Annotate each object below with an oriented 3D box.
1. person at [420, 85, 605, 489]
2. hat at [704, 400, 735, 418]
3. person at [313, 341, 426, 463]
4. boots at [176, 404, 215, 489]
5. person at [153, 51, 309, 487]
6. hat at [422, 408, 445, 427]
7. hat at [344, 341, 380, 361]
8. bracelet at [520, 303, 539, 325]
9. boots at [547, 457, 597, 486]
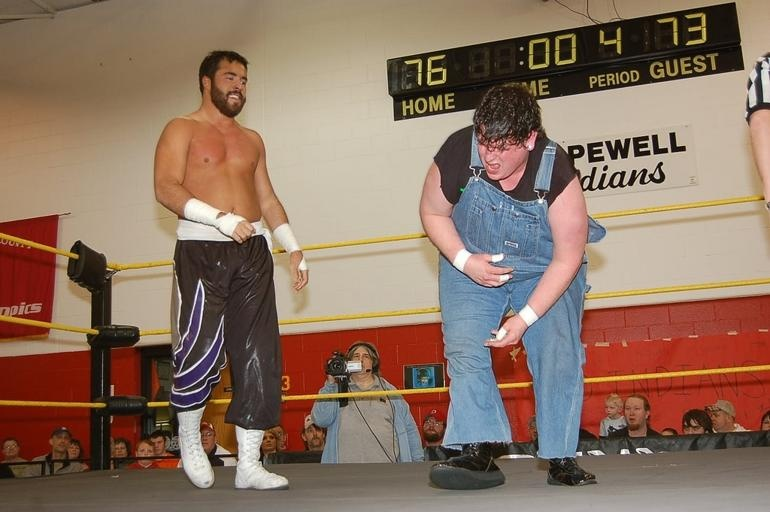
[{"bbox_3d":[0.645,0.153,3.961,0.945,2.130,0.572,-5,-6,14],"label":"person"},{"bbox_3d":[3.019,1.385,6.663,0.204,0.069,0.142,1,-10,34],"label":"hat"},{"bbox_3d":[-0.172,1.228,6.212,0.770,0.951,0.777,1,-7,-41],"label":"person"},{"bbox_3d":[-1.097,1.099,4.263,0.189,0.457,0.157,-3,-6,-3],"label":"boots"},{"bbox_3d":[-0.963,0.025,4.264,0.666,2.589,0.436,-2,-6,-17],"label":"person"},{"bbox_3d":[0.488,1.557,7.166,0.172,0.115,0.271,4,8,21],"label":"hat"},{"bbox_3d":[-0.205,0.835,6.689,0.270,0.216,0.208,-4,1,11],"label":"hat"},{"bbox_3d":[0.748,0.308,3.897,0.085,0.118,0.047,-48,-14,10],"label":"bracelet"},{"bbox_3d":[0.969,1.158,3.953,0.294,0.127,0.114,-4,-8,23],"label":"boots"}]
